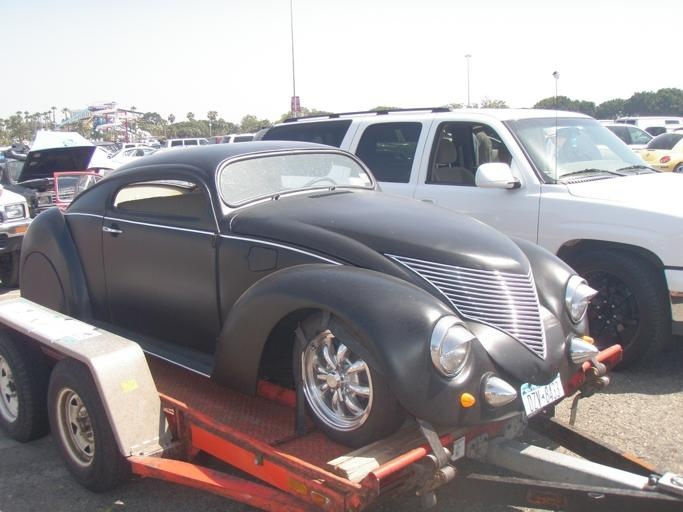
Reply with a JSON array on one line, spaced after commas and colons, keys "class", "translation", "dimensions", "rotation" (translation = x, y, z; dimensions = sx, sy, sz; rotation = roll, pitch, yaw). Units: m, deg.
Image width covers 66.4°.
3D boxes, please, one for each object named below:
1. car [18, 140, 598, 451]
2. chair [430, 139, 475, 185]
[{"class": "car", "translation": [-0.617, 0.117, 4.192], "dimensions": [4.467, 1.569, 2.041], "rotation": [8, 19, 37]}, {"class": "chair", "translation": [1.227, -1.028, 6.117], "dimensions": [0.476, 0.581, 0.652], "rotation": [2, 6, -18]}]
